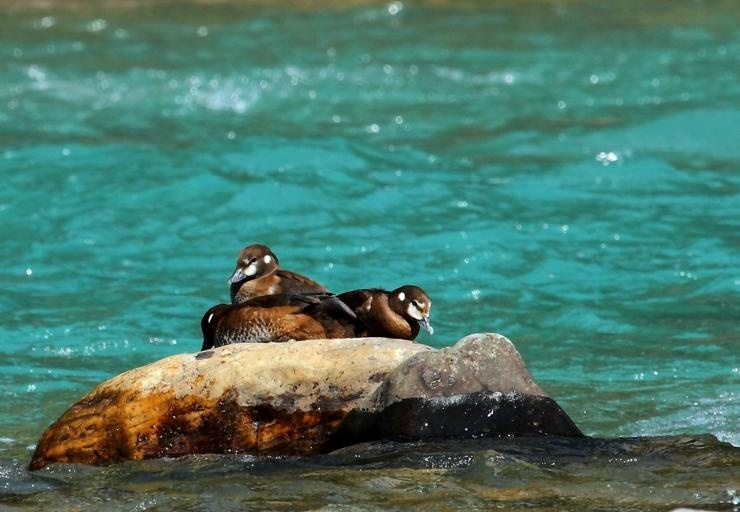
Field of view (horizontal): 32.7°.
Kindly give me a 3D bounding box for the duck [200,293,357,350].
[{"bbox_3d":[-1.145,0.838,15.829,1.879,0.461,0.765,-5,-13,5],"label":"duck"}]
